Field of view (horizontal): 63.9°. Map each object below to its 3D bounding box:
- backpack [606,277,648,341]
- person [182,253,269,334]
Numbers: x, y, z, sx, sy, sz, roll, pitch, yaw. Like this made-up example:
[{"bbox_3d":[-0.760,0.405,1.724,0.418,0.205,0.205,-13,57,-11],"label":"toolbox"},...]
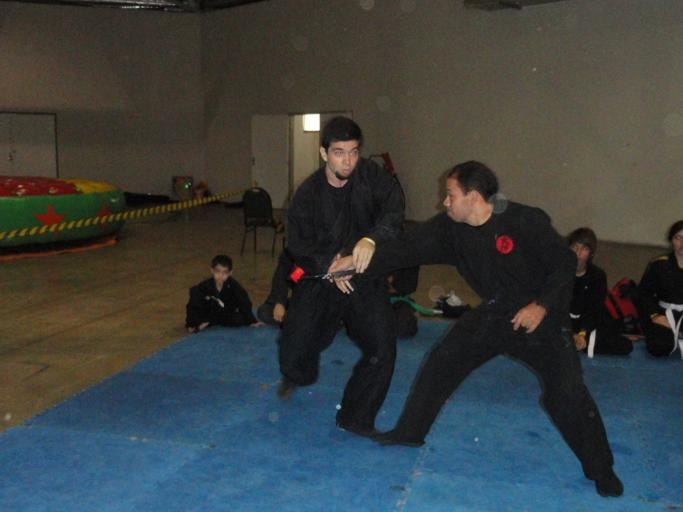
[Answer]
[{"bbox_3d":[2.467,0.480,4.724,0.255,0.476,0.356,-29,10,40],"label":"backpack"},{"bbox_3d":[-1.031,0.359,5.263,0.909,0.845,0.634,-3,33,-15],"label":"person"}]
